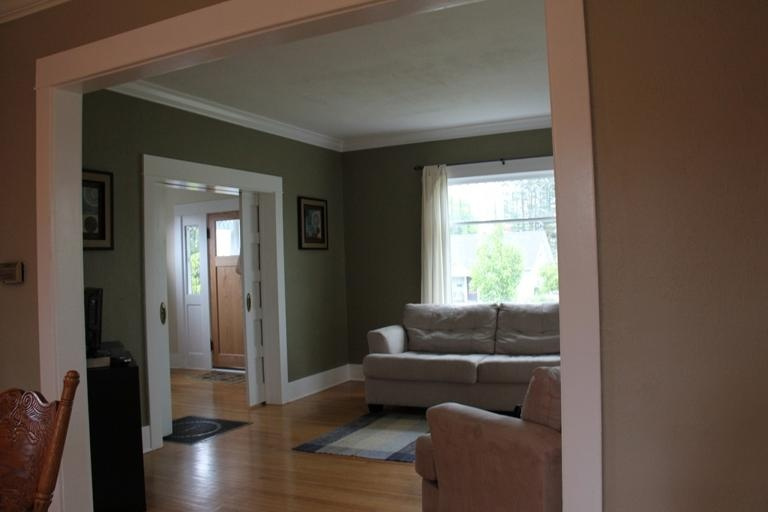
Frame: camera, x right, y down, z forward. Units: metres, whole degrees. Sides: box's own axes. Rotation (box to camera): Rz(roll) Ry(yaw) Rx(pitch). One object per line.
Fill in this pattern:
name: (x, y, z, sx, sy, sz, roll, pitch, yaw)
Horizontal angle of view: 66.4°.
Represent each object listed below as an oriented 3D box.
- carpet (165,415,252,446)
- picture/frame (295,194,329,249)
carpet: (-1.793, 1.616, 5.559, 0.788, 0.037, 0.709, -1, 4, 26)
picture/frame: (-0.873, -0.417, 6.873, 0.053, 0.674, 0.642, 0, 0, 27)
